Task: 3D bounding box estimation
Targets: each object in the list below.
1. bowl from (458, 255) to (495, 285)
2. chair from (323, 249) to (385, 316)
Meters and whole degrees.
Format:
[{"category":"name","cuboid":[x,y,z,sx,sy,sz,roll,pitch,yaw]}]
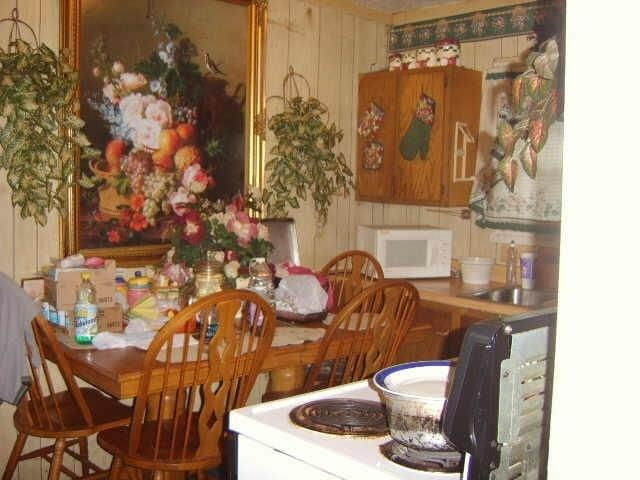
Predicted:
[{"category":"bowl","cuboid":[0.941,0.187,3.619,0.158,0.116,0.160,1,-2,0]},{"category":"chair","cuboid":[0.227,0.247,3.621,0.318,0.468,0.334,3,0,-42]}]
